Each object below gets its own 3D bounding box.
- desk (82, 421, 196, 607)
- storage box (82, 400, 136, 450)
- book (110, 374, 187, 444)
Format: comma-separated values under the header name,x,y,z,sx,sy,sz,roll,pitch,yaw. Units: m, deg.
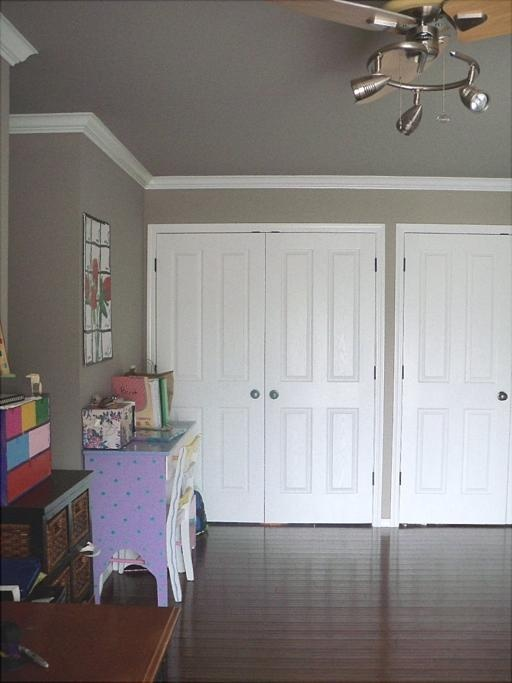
name,x,y,z,sx,sy,sz,roll,pitch,yaw
desk,-0.501,0.786,2.725,0.474,0.674,0.477,1,-6,36
storage box,-0.677,0.428,2.673,0.149,0.149,0.288,0,2,-1
book,-0.555,0.352,3.155,0.283,0.404,0.314,1,4,5
